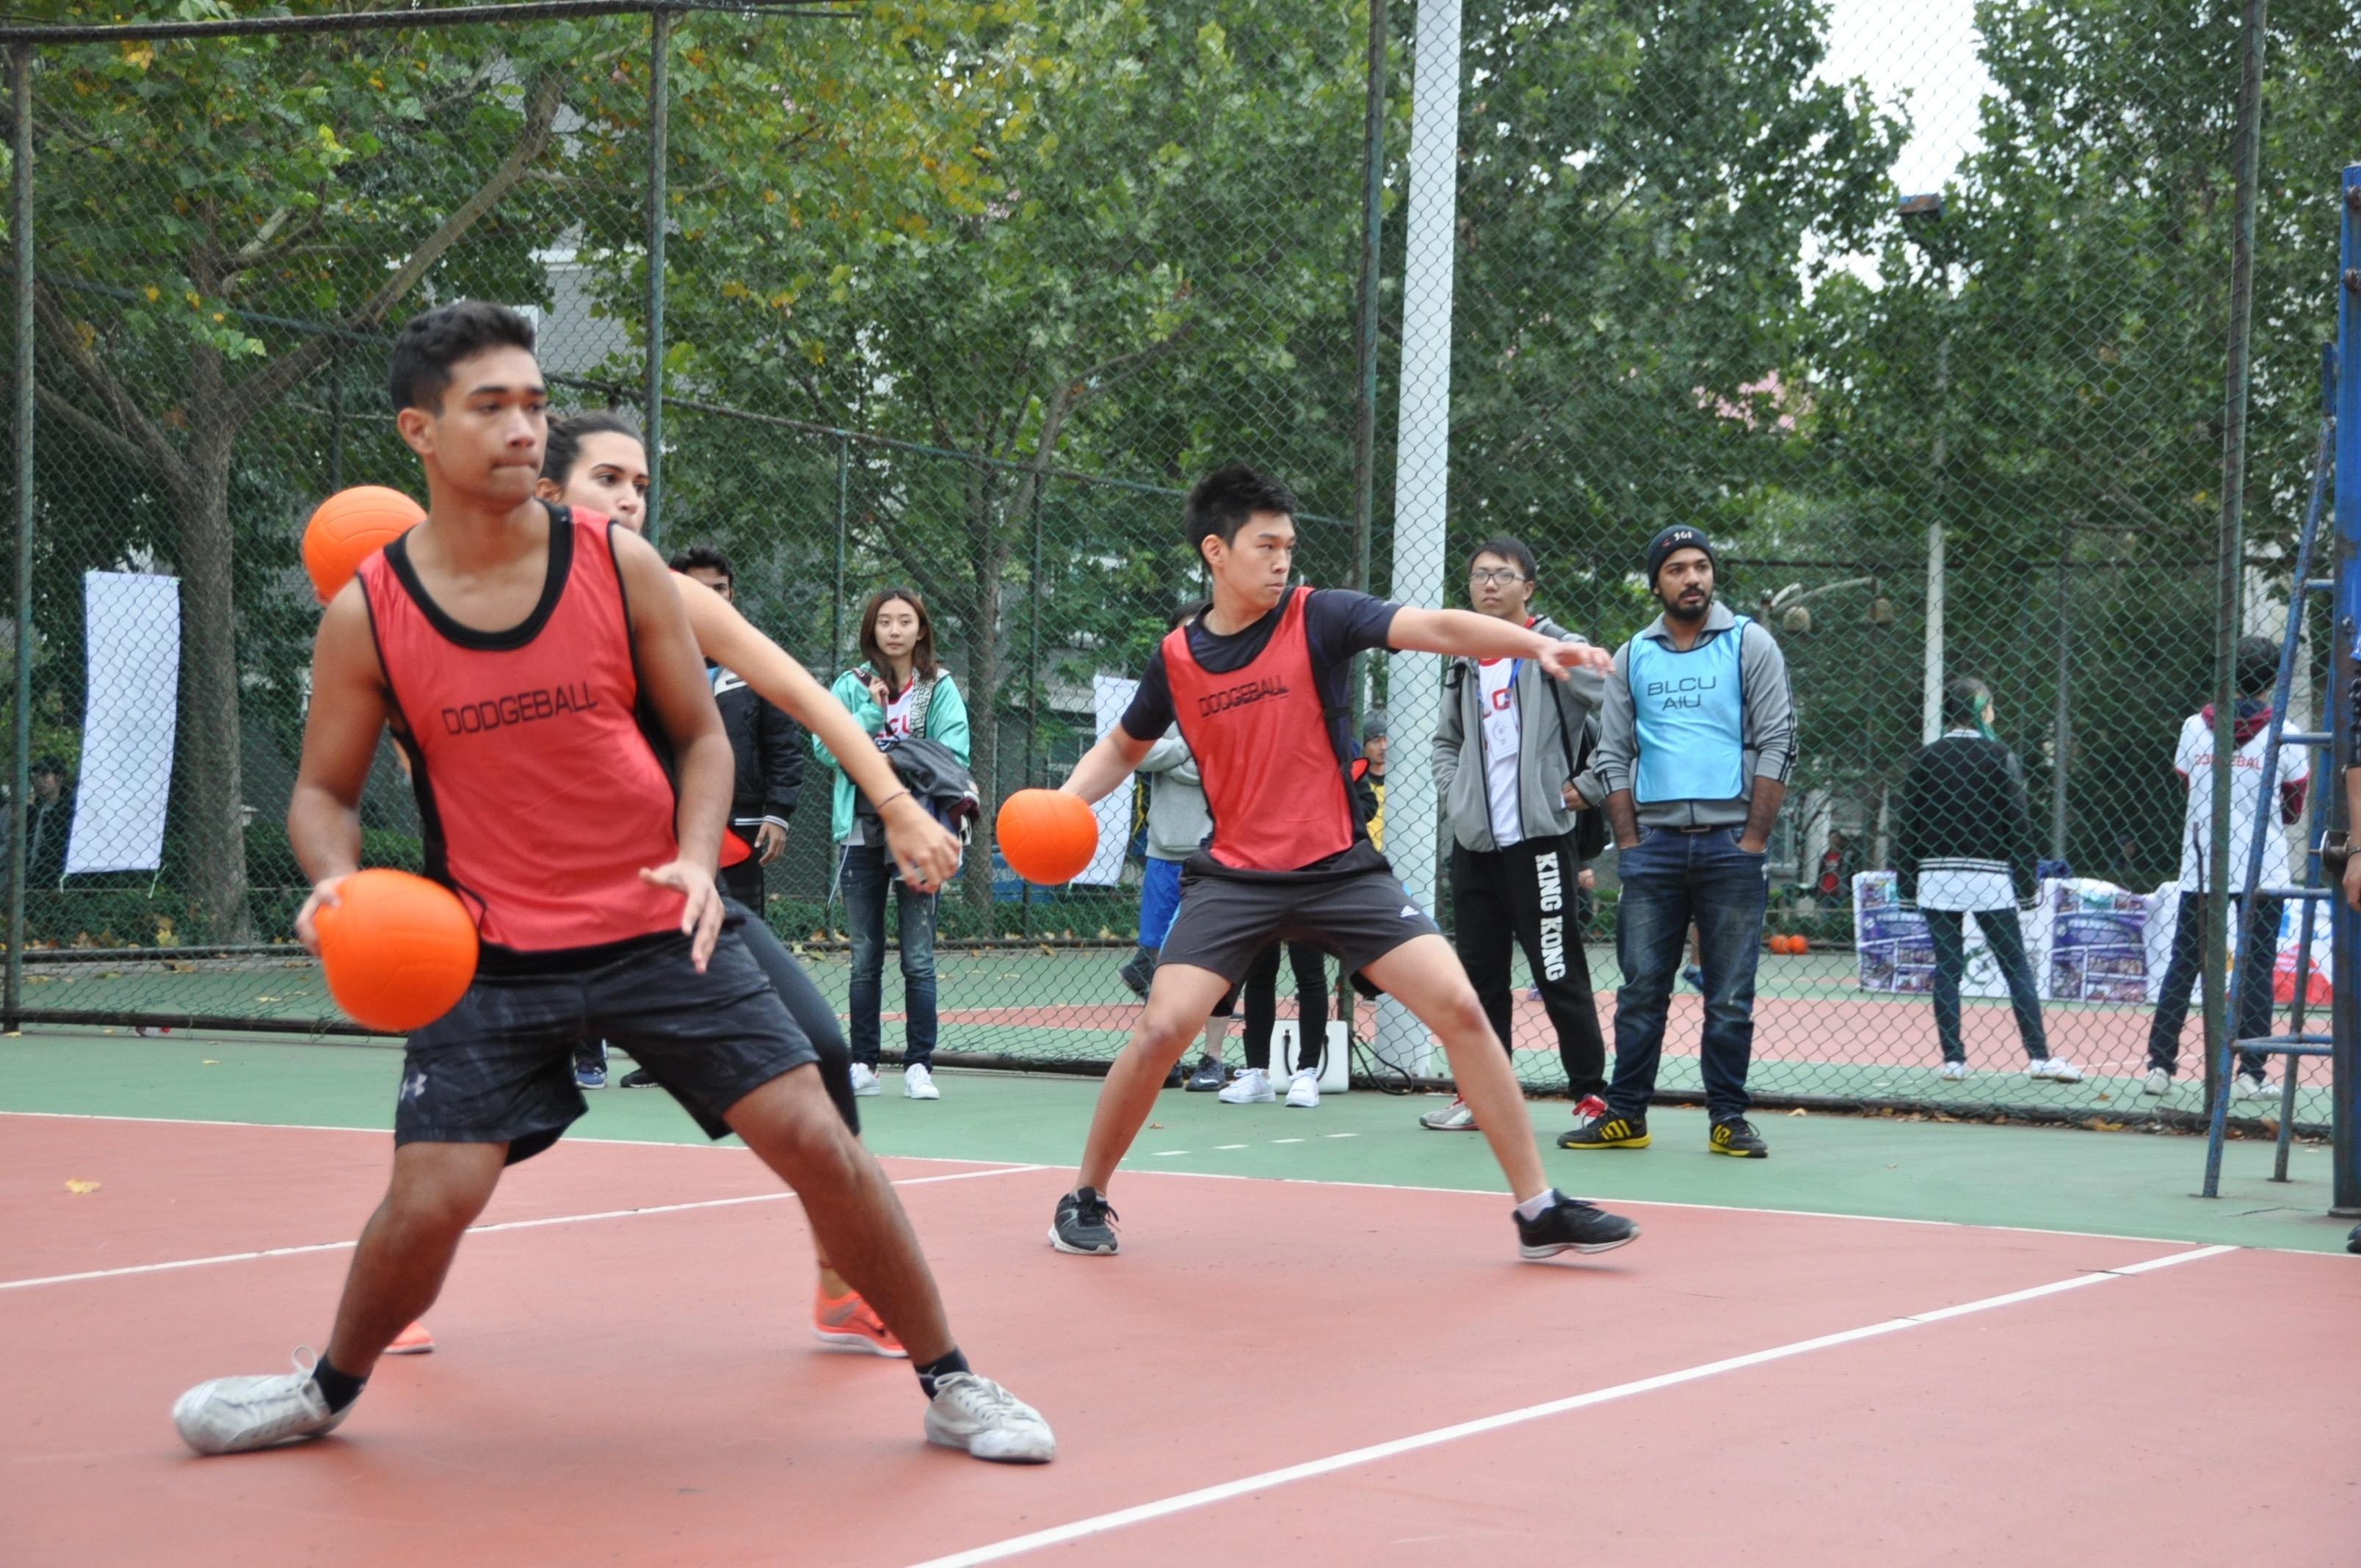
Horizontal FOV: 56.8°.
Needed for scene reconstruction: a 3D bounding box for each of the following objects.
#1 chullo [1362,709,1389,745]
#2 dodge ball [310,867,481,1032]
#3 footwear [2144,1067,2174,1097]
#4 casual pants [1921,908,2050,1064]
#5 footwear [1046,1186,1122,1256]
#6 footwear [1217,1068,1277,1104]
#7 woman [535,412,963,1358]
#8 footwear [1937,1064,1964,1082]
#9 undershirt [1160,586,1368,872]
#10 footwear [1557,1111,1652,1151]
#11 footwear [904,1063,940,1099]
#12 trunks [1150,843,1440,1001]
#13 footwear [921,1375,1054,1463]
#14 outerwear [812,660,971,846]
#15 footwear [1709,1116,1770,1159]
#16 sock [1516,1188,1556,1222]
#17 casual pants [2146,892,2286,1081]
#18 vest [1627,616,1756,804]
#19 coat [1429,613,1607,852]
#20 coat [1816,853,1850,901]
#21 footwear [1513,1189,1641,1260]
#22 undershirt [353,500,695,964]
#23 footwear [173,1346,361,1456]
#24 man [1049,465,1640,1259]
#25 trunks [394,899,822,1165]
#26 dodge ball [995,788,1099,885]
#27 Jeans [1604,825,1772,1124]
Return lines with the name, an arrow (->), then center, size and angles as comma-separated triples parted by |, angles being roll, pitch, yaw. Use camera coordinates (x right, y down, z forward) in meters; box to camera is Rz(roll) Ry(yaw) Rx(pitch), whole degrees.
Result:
chullo -> 1.115, -0.334, 12.529 | 0.150, 0.149, 0.195 | 2, -6, -6
dodge ball -> -1.915, 0.385, 5.474 | 0.386, 0.440, 0.364 | 17, -5, 2
footwear -> 5.097, 1.557, 11.443 | 0.119, 0.088, 0.196 | 0, 0, 3
casual pants -> 4.528, 1.147, 12.411 | 0.630, 0.863, 0.958 | 1, 1, 16
footwear -> -0.334, 1.500, 7.569 | 0.231, 0.210, 0.192 | 0, 1, -4
footwear -> 0.300, 1.549, 11.213 | 0.345, 0.167, 0.124 | 5, -9, -37
woman -> -1.317, 0.303, 6.155 | 1.266, 2.683, 0.919 | -13, 23, -20
footwear -> 4.324, 1.613, 12.303 | 0.106, 0.066, 0.146 | -1, -4, 2
undershirt -> 0.282, -0.116, 7.713 | 0.609, 1.023, 0.425 | -10, -7, 9
footwear -> 1.874, 1.530, 9.699 | 0.404, 0.182, 0.162 | 2, -5, -8
footwear -> -1.310, 1.517, 11.120 | 0.109, 0.119, 0.277 | 2, -7, -18
trunks -> 0.404, 0.438, 7.689 | 0.985, 0.510, 0.511 | -3, 0, -5
footwear -> -0.488, 1.625, 5.615 | 0.319, 0.140, 0.171 | -2, -2, 43
outerwear -> -1.401, -0.188, 10.861 | 0.684, 0.827, 0.490 | -3, 7, -2
footwear -> 2.433, 1.557, 9.595 | 0.137, 0.116, 0.252 | 1, -5, -35
sock -> 1.180, 1.417, 7.371 | 0.138, 0.059, 0.083 | -38, 18, -24
casual pants -> 5.069, 1.040, 10.824 | 0.544, 0.986, 2.025 | 1, 0, 24
vest -> 2.267, -0.302, 9.673 | 0.662, 1.048, 0.554 | -3, -17, 18
coat -> 1.467, -0.199, 9.490 | 0.487, 0.887, 0.814 | 19, -29, -36
coat -> 5.657, 0.788, 19.150 | 0.211, 0.438, 0.507 | 1, 1, 14
footwear -> 1.307, 1.483, 7.415 | 0.456, 0.217, 0.188 | -5, 9, 8
undershirt -> -1.677, -0.155, 5.656 | 0.690, 1.134, 0.655 | -4, 22, 1
footwear -> -2.399, 1.620, 5.675 | 0.510, 0.196, 0.225 | -10, 2, -35
man -> 0.415, 0.265, 7.551 | 1.652, 2.690, 0.412 | 0, 1, 6
trunks -> -1.496, 0.637, 5.707 | 1.095, 0.665, 0.420 | -8, 1, -12
dodge ball -> -0.428, 0.149, 7.168 | 0.307, 0.211, 0.300 | 1, 13, 0
Jeans -> 2.205, 0.817, 9.749 | 0.716, 1.485, 0.414 | 1, 11, 9
